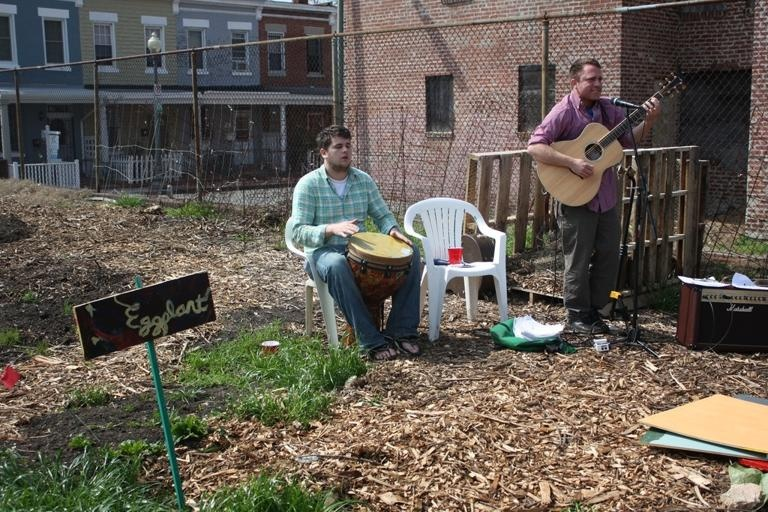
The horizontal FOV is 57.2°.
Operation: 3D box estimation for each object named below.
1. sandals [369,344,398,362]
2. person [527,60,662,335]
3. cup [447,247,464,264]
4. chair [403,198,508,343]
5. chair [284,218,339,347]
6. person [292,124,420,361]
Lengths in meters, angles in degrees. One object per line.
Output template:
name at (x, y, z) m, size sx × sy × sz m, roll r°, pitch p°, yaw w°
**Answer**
sandals at (0.012, 0.864, 6.343) m, size 0.302 × 0.116 × 0.178 m, roll -9°, pitch 15°, yaw -41°
person at (2.061, -0.597, 6.852) m, size 1.254 × 2.602 × 0.646 m, roll -1°, pitch 3°, yaw -6°
cup at (0.705, 0.001, 7.069) m, size 0.145 × 0.162 × 0.153 m, roll 1°, pitch 3°, yaw 0°
chair at (0.745, 0.096, 7.193) m, size 1.037 × 1.312 × 0.913 m, roll -7°, pitch 10°, yaw -41°
chair at (-0.581, 0.246, 6.875) m, size 0.460 × 1.125 × 0.594 m, roll -14°, pitch -3°, yaw -11°
person at (-0.183, -0.198, 6.738) m, size 0.910 × 2.247 × 1.193 m, roll -2°, pitch 3°, yaw -35°
